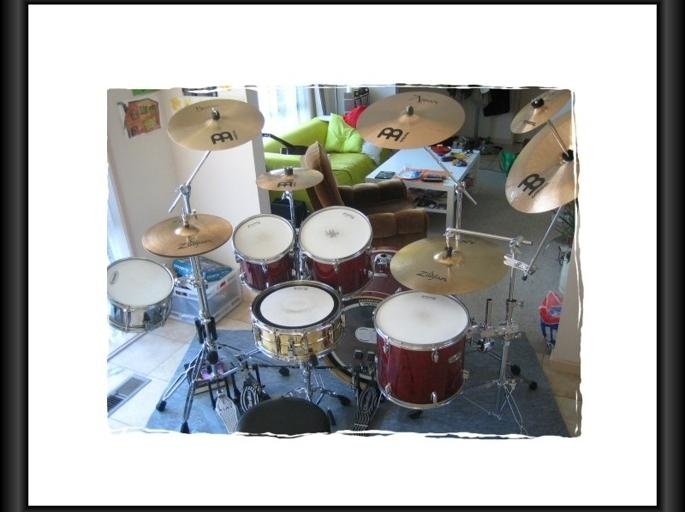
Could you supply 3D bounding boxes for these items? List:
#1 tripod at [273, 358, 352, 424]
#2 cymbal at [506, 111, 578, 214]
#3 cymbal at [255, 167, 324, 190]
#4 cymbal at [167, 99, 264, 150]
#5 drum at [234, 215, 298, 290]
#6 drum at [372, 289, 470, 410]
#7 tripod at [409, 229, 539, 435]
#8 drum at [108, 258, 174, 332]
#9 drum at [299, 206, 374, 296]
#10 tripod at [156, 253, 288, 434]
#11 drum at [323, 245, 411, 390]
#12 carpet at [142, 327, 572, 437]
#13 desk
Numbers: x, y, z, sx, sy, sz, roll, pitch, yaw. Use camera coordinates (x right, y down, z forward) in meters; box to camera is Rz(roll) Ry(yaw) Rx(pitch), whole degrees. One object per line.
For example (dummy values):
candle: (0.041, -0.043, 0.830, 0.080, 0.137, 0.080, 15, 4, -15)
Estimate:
tripod: (-0.193, 0.819, 3.625, 0.465, 0.438, 0.428, -3, 62, -6)
cymbal: (0.955, -0.473, 2.701, 0.275, 0.443, 0.547, 9, 36, 9)
cymbal: (-0.371, -0.521, 3.807, 0.268, 0.062, 0.264, -22, 43, -21)
cymbal: (-0.734, -0.776, 3.308, 0.532, 0.143, 0.402, -13, 39, -21)
drum: (-0.495, -0.088, 3.698, 0.445, 0.334, 0.443, 1, 48, -2)
drum: (0.420, 0.498, 3.134, 0.510, 0.442, 0.534, -3, 36, -8)
tripod: (0.764, 0.498, 3.340, 1.010, 1.037, 0.641, 10, 42, 19)
drum: (-1.192, 0.203, 3.370, 0.388, 0.337, 0.382, -10, 38, -17)
drum: (-0.048, -0.050, 3.693, 0.502, 0.357, 0.471, 2, 36, -1)
tripod: (-0.800, 0.594, 3.710, 0.550, 0.862, 0.675, -28, 56, -16)
drum: (0.131, 0.365, 3.376, 0.666, 0.745, 0.541, 10, 36, 6)
carpet: (0.705, 0.944, 4.201, 1.719, 0.010, 1.933, 0, 5, 23)
desk: (0.796, -0.863, 5.678, 0.961, 0.680, 1.354, 9, 41, 19)
